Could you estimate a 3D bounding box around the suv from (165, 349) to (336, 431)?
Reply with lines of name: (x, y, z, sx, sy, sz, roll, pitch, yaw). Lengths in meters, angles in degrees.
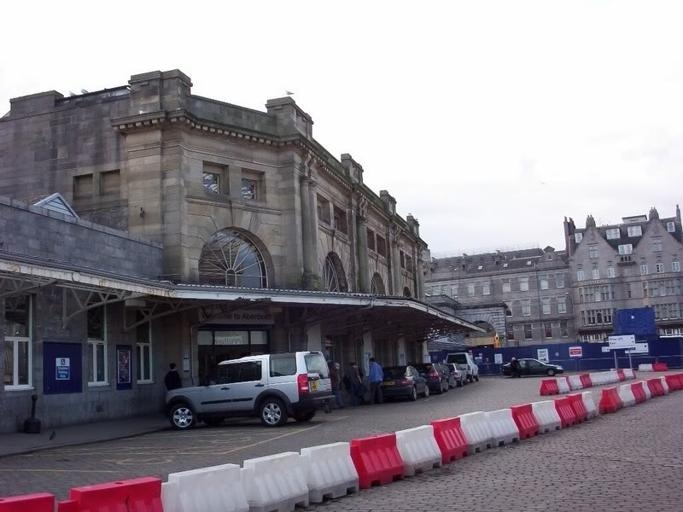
suv: (-2.970, 4.368, 20.596, 4.990, 1.925, 2.497, -2, -9, 18)

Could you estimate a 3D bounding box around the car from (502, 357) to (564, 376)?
car: (16.131, 9.757, 53.117, 4.736, 1.453, 2.164, -4, -5, 14)

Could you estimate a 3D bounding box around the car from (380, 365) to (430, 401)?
car: (2.973, 6.175, 30.424, 1.689, 1.669, 2.558, -9, -12, 13)
